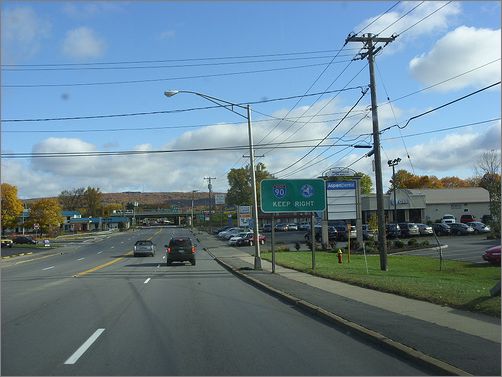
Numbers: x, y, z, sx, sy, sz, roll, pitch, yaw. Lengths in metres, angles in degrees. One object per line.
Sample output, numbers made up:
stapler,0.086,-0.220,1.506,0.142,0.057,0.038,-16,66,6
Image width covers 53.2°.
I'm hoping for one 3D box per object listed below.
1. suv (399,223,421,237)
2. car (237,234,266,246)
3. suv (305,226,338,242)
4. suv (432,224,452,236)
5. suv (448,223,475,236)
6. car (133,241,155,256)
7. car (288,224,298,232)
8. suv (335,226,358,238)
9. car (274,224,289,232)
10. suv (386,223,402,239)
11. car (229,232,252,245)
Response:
suv,16.480,4.346,51.871,1.006,0.884,2.170,-1,3,-42
car,-0.092,5.633,53.742,2.400,1.038,1.398,2,-7,-9
suv,7.658,4.669,51.378,2.619,1.370,1.642,3,-4,0
suv,21.648,4.709,56.499,2.050,1.453,1.668,-6,-7,8
suv,24.116,4.872,57.428,1.326,0.994,2.950,0,3,-26
car,-8.925,5.090,41.654,1.663,1.397,2.044,-3,-8,-13
car,7.214,6.845,86.793,1.305,1.340,3.521,-6,-8,15
suv,9.936,4.574,52.471,2.009,1.462,2.870,-6,-8,9
car,5.140,6.804,85.951,2.382,1.311,1.660,0,-9,-33
suv,14.857,4.521,51.954,1.314,1.231,2.392,0,4,9
car,-1.486,5.555,55.439,1.265,0.748,2.339,-6,-9,27
